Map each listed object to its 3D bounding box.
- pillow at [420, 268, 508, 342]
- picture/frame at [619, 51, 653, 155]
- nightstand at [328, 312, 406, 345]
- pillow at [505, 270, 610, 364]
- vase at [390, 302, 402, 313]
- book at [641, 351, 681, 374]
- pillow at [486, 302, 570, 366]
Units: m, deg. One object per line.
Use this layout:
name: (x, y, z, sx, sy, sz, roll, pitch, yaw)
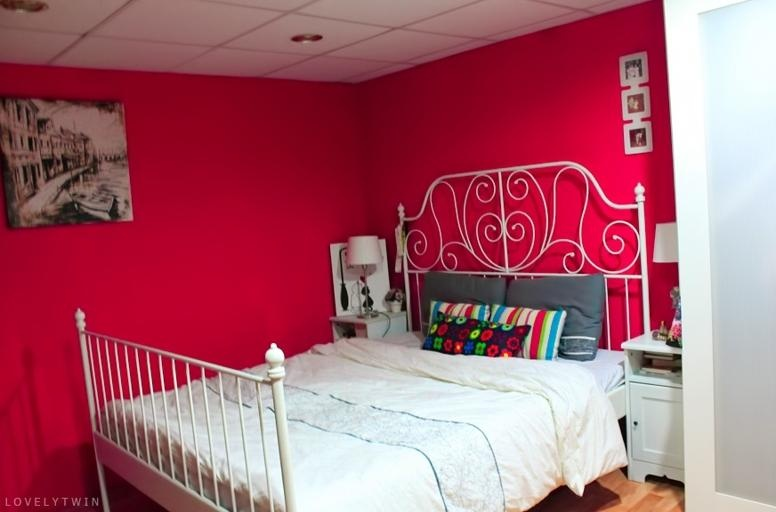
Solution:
pillow: (0.609, 0.409, 4.401, 0.709, 0.510, 0.164, -1, -15, 42)
picture/frame: (1.744, -1.066, 3.745, 0.228, 0.694, 0.145, 2, 15, 25)
nightstand: (-0.194, 0.556, 5.006, 0.470, 0.438, 0.356, 2, 2, 41)
pillow: (1.315, 0.452, 3.870, 0.648, 0.593, 0.193, 3, -8, 43)
vase: (0.076, 0.484, 4.965, 0.098, 0.078, 0.100, -4, -8, 16)
book: (1.798, 0.704, 3.490, 0.180, 0.062, 0.140, -5, 3, -34)
pillow: (0.973, 0.572, 3.959, 0.586, 0.383, 0.216, 7, -1, 16)
